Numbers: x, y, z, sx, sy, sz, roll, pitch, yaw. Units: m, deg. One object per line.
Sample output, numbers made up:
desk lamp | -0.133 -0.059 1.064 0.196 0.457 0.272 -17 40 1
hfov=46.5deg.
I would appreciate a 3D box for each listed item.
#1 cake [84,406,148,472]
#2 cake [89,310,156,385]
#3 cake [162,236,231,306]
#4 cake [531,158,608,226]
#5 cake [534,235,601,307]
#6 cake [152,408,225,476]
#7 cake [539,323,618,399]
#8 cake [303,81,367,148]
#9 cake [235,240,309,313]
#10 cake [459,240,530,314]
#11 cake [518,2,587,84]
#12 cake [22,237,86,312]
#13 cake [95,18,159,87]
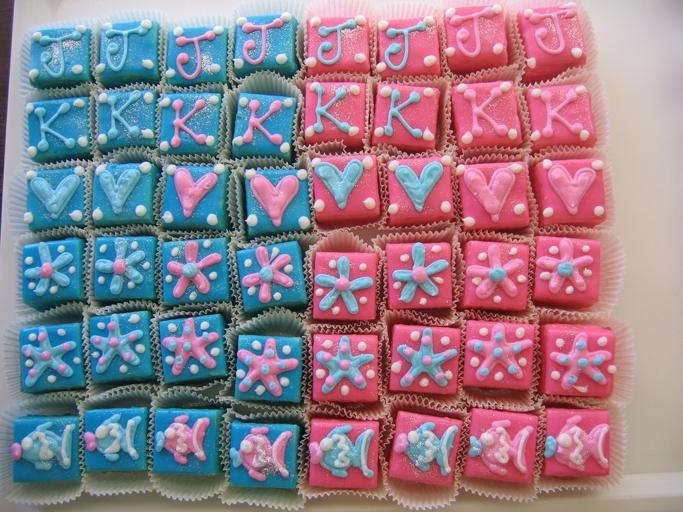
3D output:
cake | -1.301 1.041 4.633 0.294 0.353 0.337 -1 -4 -1
cake | -1.258 0.496 4.754 0.343 0.411 0.379 -2 15 3
cake | -0.834 0.095 4.505 0.332 0.398 0.178 -5 0 -4
cake | 1.360 -0.360 4.717 0.376 0.380 0.247 -1 -14 13
cake | 1.303 0.069 4.585 0.328 0.397 0.368 3 3 4
cake | -0.879 1.041 4.546 0.319 0.331 0.357 2 24 4
cake | 1.385 0.586 4.686 0.408 0.392 0.412 3 3 -32
cake | -0.038 -0.822 4.660 0.321 0.385 0.161 -1 0 -2
cake | -0.414 0.110 4.747 0.349 0.413 0.372 -9 -3 -1
cake | 0.879 0.126 4.755 0.447 0.454 0.481 -7 4 14
cake | 1.246 -1.264 4.890 0.363 0.434 0.405 -10 7 -3
cake | -1.740 0.121 4.817 0.388 0.381 0.400 -4 -6 -28
cake | -1.318 -1.283 4.897 0.419 0.218 0.420 -26 26 -31
